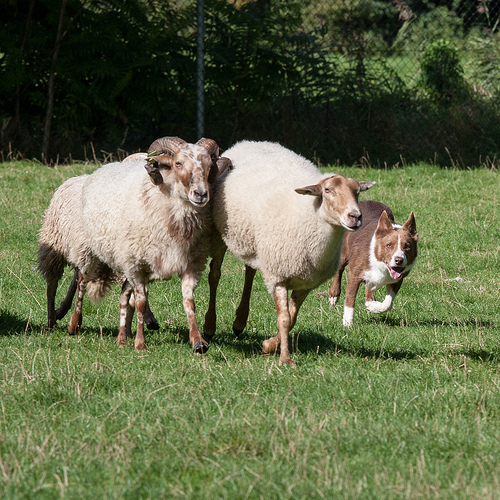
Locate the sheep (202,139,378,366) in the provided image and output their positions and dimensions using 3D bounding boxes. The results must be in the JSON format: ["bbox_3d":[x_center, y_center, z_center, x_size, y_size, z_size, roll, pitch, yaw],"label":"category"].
[{"bbox_3d":[0.212,0.081,7.356,0.879,2.074,2.313,0,9,-34],"label":"sheep"}]

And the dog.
[{"bbox_3d":[1.362,0.144,9.032,0.555,1.464,2.068,6,10,-10],"label":"dog"}]

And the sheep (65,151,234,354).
[{"bbox_3d":[-1.183,-0.081,7.672,2.310,2.207,0.819,10,18,44],"label":"sheep"}]

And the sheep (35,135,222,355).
[{"bbox_3d":[-1.174,-0.066,7.660,2.331,2.197,0.893,5,11,40],"label":"sheep"}]
